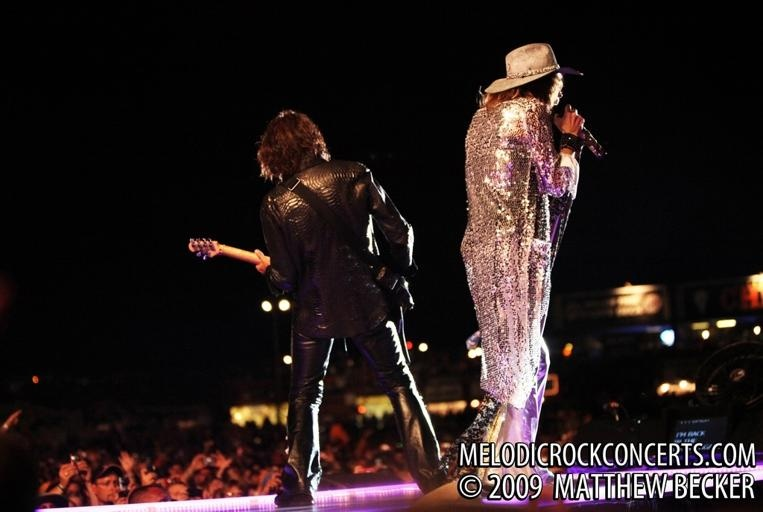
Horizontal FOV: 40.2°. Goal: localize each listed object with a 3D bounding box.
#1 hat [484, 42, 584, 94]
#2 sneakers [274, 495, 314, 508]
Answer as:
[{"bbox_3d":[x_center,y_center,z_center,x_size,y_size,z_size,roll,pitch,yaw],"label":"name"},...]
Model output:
[{"bbox_3d":[2.277,-3.019,16.751,1.036,0.431,0.915,-23,13,-6],"label":"hat"},{"bbox_3d":[-1.363,3.891,16.656,0.634,0.299,0.232,-4,-6,-2],"label":"sneakers"}]
